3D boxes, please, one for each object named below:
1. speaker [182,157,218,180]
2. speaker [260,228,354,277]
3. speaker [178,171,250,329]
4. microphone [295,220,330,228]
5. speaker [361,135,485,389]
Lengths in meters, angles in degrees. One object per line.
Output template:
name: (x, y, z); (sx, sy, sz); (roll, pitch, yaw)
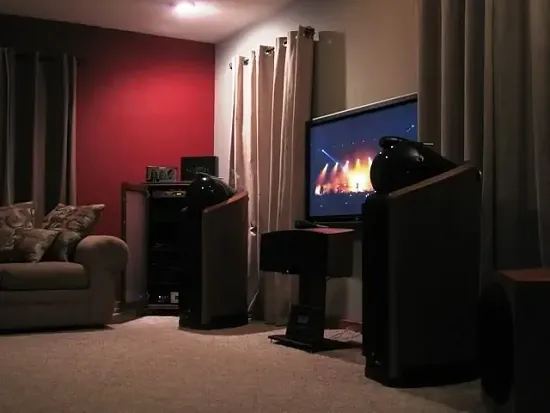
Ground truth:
speaker: (-0.739, -0.385, 4.881); (0.251, 0.239, 0.085); (0, -2, 8)
speaker: (0.219, 0.335, 3.498); (0.642, 0.393, 0.341); (-1, -2, 42)
speaker: (-0.498, 0.377, 4.091); (0.576, 1.306, 0.257); (1, -2, -13)
microphone: (0.293, 0.134, 3.664); (0.203, 0.060, 0.053); (4, 3, -10)
speaker: (0.826, 0.267, 2.747); (0.594, 1.385, 0.352); (-2, 2, -9)
